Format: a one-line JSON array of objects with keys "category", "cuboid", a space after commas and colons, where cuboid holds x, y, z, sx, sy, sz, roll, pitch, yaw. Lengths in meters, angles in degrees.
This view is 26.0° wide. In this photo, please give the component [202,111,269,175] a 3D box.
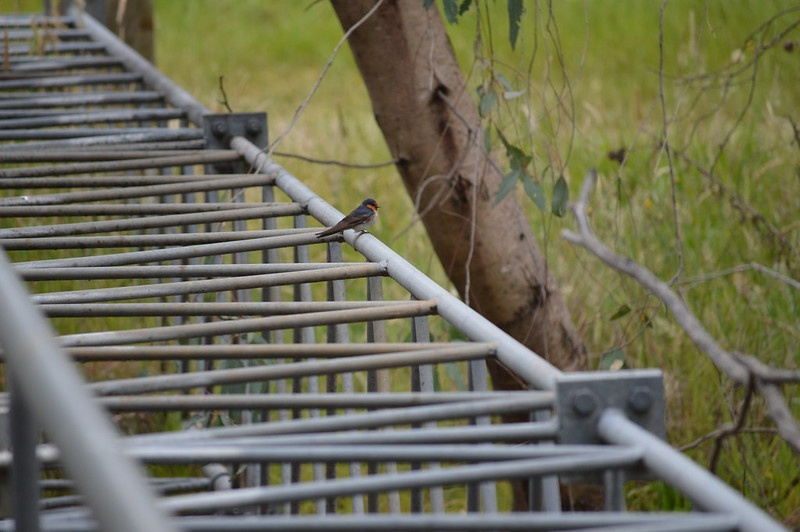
[{"category": "component", "cuboid": [-1.105, -0.796, 11.675, 0.429, 0.461, 0.272, -1, -13, -11]}]

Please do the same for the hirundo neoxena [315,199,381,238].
[{"category": "hirundo neoxena", "cuboid": [-0.317, -0.304, 10.712, 0.434, 0.216, 0.139, -7, 15, -20]}]
